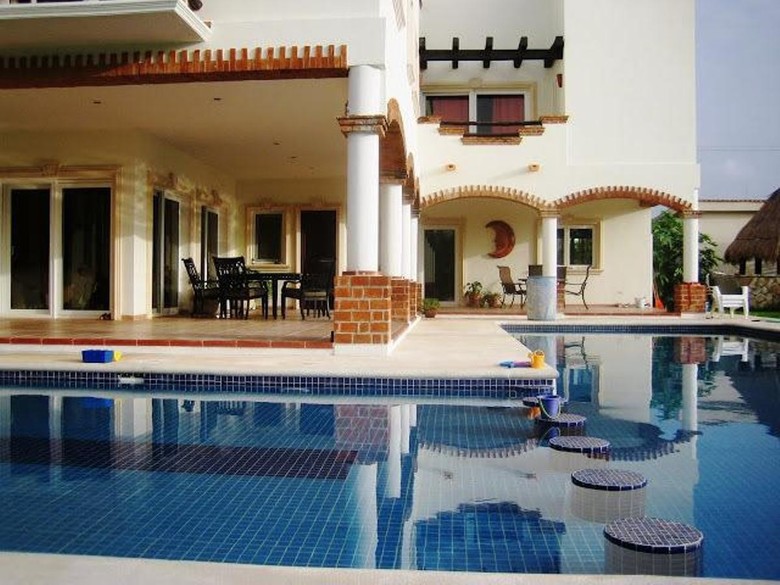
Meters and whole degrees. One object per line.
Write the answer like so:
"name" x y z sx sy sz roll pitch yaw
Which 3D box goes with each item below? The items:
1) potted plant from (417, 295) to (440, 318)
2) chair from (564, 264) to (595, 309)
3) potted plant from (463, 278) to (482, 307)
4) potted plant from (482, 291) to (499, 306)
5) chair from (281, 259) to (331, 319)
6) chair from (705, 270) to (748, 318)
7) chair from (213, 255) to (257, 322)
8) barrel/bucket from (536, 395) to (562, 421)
"potted plant" 0.865 0.326 16.097 0.373 0.441 0.352 1 -6 -2
"chair" 4.789 -0.166 18.833 0.713 1.059 2.577 0 2 14
"potted plant" 2.149 0.026 19.257 0.524 0.806 0.545 3 -6 -3
"potted plant" 2.581 0.157 19.079 0.314 0.354 0.338 1 -4 3
"chair" -1.539 -0.047 13.903 0.888 1.083 2.700 0 2 -5
"chair" 8.316 0.042 18.292 0.988 1.467 1.129 0 1 0
"chair" -2.936 -0.085 13.835 0.693 1.119 1.964 0 2 -13
"barrel/bucket" 1.388 1.014 6.485 0.171 0.171 0.206 0 -4 2
